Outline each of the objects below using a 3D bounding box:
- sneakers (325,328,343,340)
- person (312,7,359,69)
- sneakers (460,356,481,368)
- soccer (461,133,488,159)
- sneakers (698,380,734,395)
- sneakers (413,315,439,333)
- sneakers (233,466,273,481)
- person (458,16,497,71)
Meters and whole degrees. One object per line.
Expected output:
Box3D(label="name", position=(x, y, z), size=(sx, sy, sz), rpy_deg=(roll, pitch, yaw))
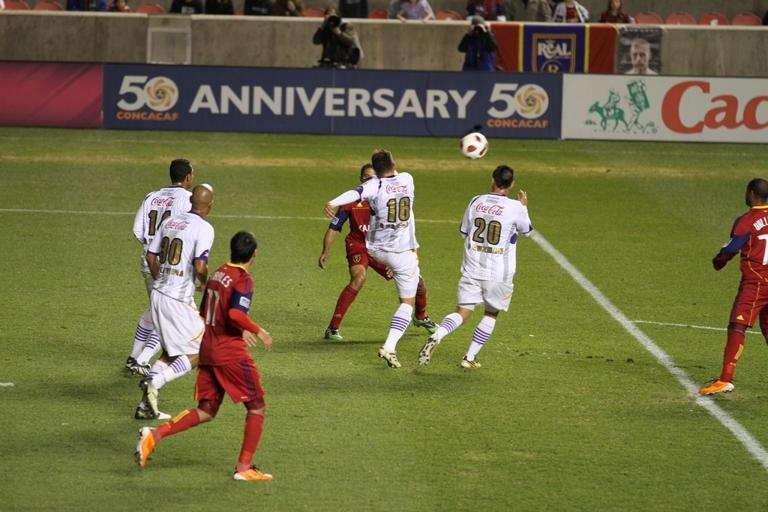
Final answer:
Box3D(label="sneakers", position=(-0.884, 1.391, 24.846), size=(0.328, 0.194, 0.157), rpy_deg=(2, 21, -2))
Box3D(label="person", position=(-1.233, -5.913, 37.986), size=(1.144, 1.567, 1.517), rpy_deg=(2, 10, -2))
Box3D(label="sneakers", position=(1.473, 1.820, 23.830), size=(0.390, 0.167, 0.134), rpy_deg=(-1, 20, -30))
Box3D(label="soccer", position=(1.662, -2.090, 26.595), size=(0.448, 0.493, 0.713), rpy_deg=(3, 9, 2))
Box3D(label="sneakers", position=(5.432, 2.187, 23.169), size=(0.597, 0.251, 0.236), rpy_deg=(-2, 3, -2))
Box3D(label="sneakers", position=(0.737, 1.261, 25.338), size=(0.547, 0.242, 0.205), rpy_deg=(20, 23, -12))
Box3D(label="sneakers", position=(-1.985, 3.312, 21.287), size=(0.626, 0.217, 0.212), rpy_deg=(1, 2, -10))
Box3D(label="person", position=(2.484, -5.660, 37.246), size=(0.888, 1.413, 0.796), rpy_deg=(2, 10, 1))
